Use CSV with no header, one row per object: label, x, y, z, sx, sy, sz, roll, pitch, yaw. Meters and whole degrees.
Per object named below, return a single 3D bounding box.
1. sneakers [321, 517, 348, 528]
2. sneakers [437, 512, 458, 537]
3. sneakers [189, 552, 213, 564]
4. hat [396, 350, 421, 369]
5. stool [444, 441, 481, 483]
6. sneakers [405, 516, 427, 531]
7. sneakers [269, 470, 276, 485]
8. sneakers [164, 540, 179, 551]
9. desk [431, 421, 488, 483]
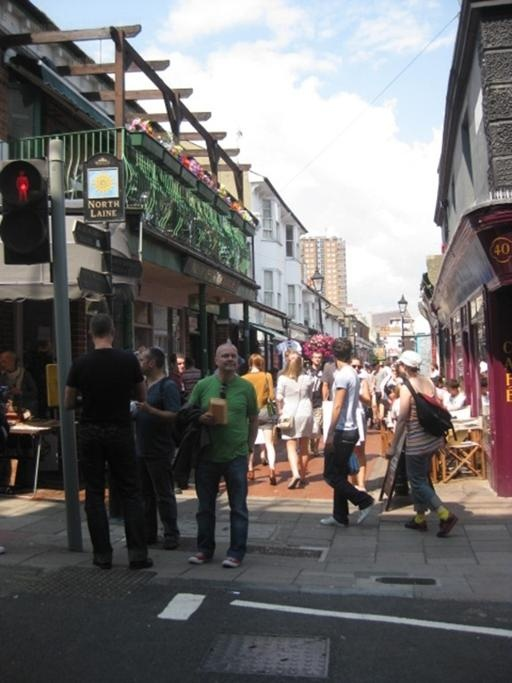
sneakers,0.760,1.724,6.301,0.276,0.115,0.096,3,-5,18
sneakers,1.667,1.577,5.674,0.130,0.293,0.113,19,45,6
sneakers,-0.421,1.609,4.891,0.071,0.082,0.201,-11,-20,43
hat,1.437,0.153,6.125,0.185,0.148,0.099,17,-24,20
stool,2.775,1.554,8.893,0.431,0.452,0.484,2,4,-9
sneakers,1.487,1.668,6.025,0.089,0.092,0.212,0,0,-28
sneakers,0.229,1.800,8.697,0.068,0.199,0.131,-2,13,0
sneakers,-0.699,1.652,5.358,0.056,0.054,0.118,4,2,-3
desk,2.841,1.491,8.981,0.579,0.905,0.765,-1,-9,16
